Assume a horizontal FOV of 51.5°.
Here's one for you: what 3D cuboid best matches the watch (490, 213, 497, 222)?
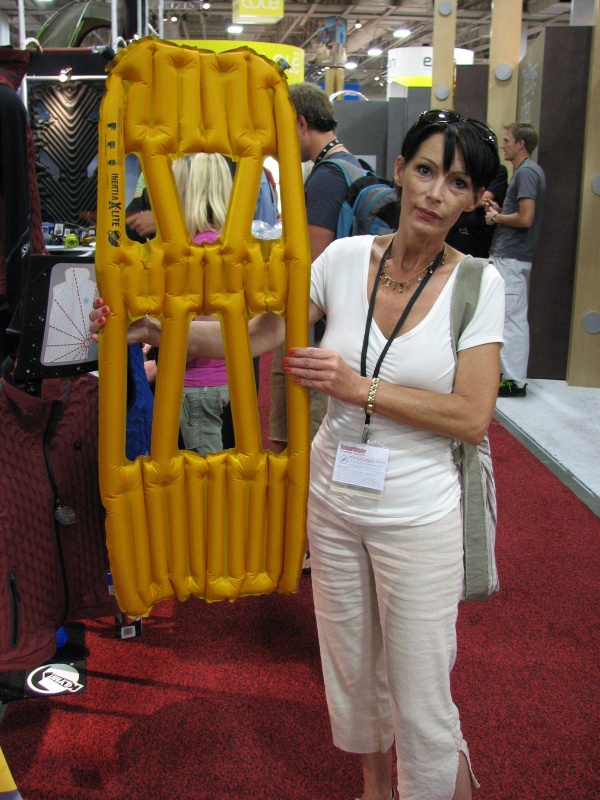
[{"bbox_3d":[1.398,-1.320,4.466,0.013,0.055,0.046,-4,4,4],"label":"watch"}]

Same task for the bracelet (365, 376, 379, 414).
[{"bbox_3d":[0.109,-0.003,0.977,0.010,0.043,0.033,11,3,5],"label":"bracelet"}]

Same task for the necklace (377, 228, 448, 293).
[{"bbox_3d":[0.180,-0.236,1.066,0.087,0.120,0.030,21,13,25],"label":"necklace"}]
